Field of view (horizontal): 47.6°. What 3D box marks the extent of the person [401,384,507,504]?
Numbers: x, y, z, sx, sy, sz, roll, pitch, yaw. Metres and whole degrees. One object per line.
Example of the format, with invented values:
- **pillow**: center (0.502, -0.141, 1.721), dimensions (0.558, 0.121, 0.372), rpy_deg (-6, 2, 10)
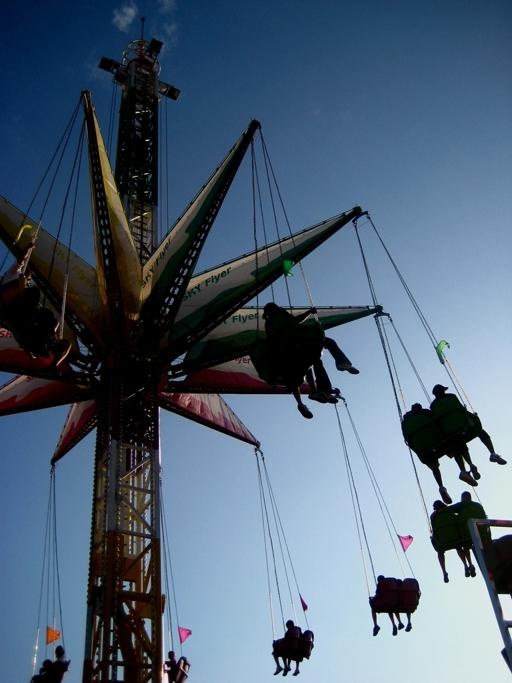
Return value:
- **person**: center (2.482, 1.256, 7.512), dimensions (0.862, 1.145, 0.944), rpy_deg (-30, -43, 24)
